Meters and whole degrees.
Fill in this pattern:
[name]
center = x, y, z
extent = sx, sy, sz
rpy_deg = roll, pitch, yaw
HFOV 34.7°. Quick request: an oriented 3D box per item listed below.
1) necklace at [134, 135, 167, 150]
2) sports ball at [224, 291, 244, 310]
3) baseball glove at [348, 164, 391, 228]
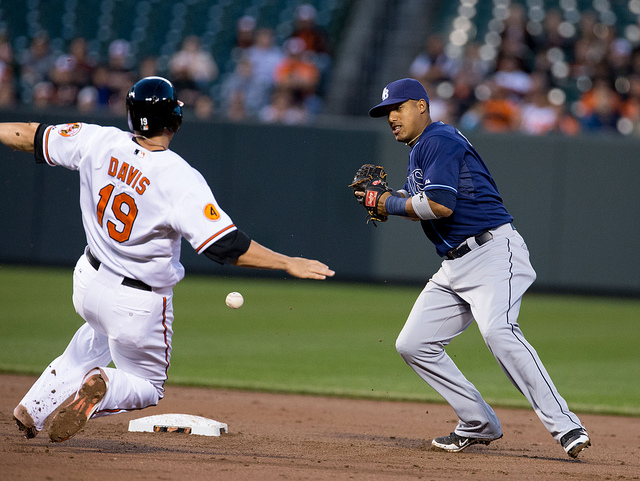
[necklace]
center = -1.235, -0.702, 7.302
extent = 0.194, 0.027, 0.057
rpy_deg = 27, 58, 10
[sports ball]
center = -0.630, 0.447, 7.548
extent = 0.123, 0.092, 0.119
rpy_deg = 4, 11, -1
[baseball glove]
center = 0.405, -0.360, 8.144
extent = 0.266, 0.462, 0.237
rpy_deg = -12, 16, -33
